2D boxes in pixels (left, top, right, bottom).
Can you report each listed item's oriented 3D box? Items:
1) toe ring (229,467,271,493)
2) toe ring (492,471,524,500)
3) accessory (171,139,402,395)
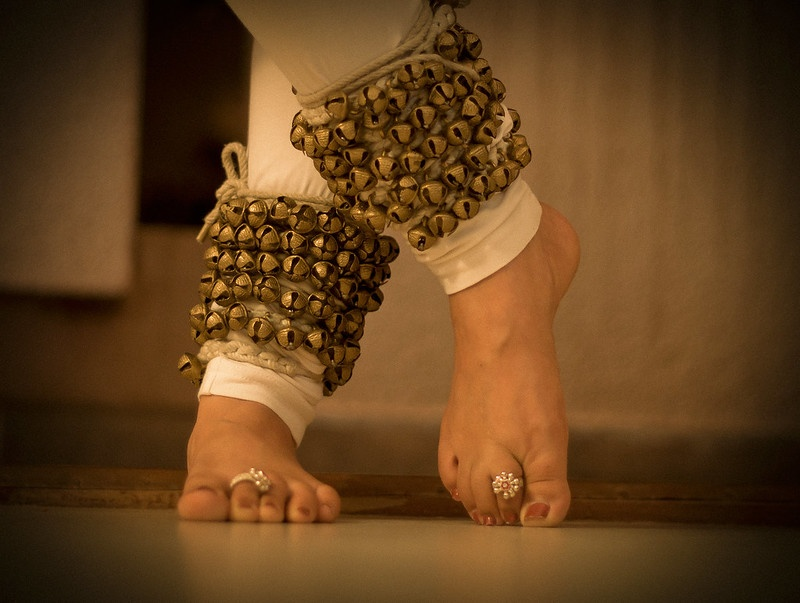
[{"bbox_3d":[-0.162,0.195,0.953,0.033,0.016,0.025,1,2,-26],"label":"toe ring"},{"bbox_3d":[0.121,0.209,0.988,0.036,0.034,0.011,-2,0,0],"label":"toe ring"},{"bbox_3d":[-0.130,-0.043,1.079,0.217,0.287,0.104,25,7,-1],"label":"accessory"}]
